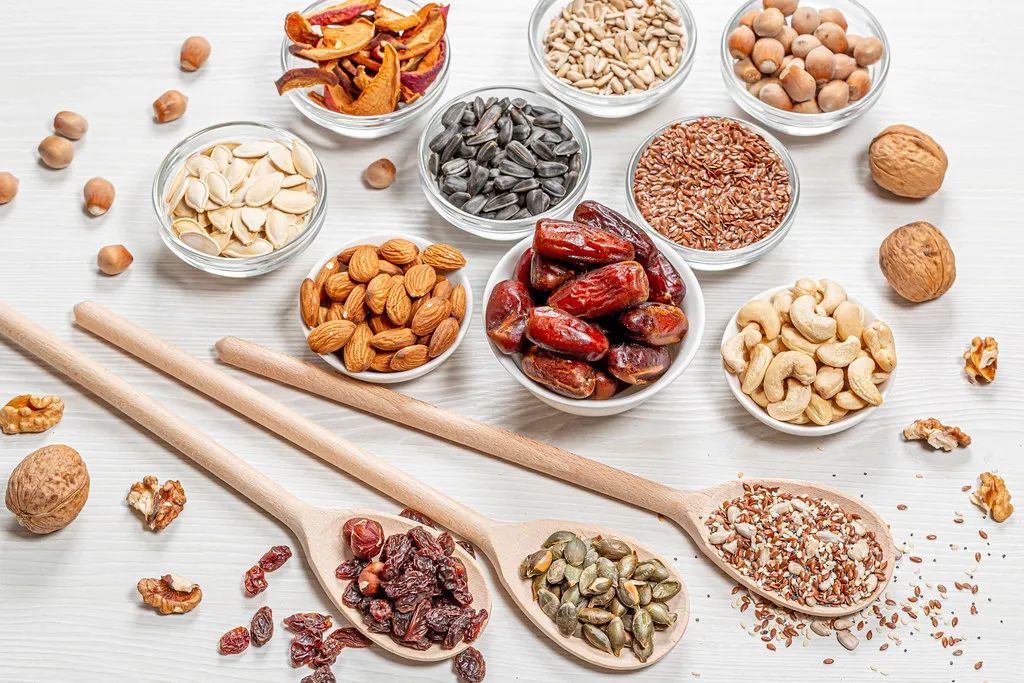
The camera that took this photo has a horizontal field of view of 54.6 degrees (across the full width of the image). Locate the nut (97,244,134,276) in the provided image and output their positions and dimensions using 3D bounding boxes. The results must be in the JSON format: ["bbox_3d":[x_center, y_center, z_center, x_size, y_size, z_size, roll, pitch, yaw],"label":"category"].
[{"bbox_3d":[-1.231,-0.256,3.093,0.105,0.082,0.084,-35,91,-29],"label":"nut"}]

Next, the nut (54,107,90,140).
[{"bbox_3d":[-1.439,-0.709,3.304,0.102,0.077,0.084,36,86,-7],"label":"nut"}]

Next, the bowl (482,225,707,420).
[{"bbox_3d":[0.335,0.017,2.651,0.489,0.241,0.580,-1,89,3],"label":"bowl"}]

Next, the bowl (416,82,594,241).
[{"bbox_3d":[-0.024,-0.553,3.159,0.427,0.205,0.500,0,76,1],"label":"bowl"}]

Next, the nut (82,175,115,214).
[{"bbox_3d":[-1.314,-0.464,3.191,0.082,0.066,0.123,10,84,-7],"label":"nut"}]
